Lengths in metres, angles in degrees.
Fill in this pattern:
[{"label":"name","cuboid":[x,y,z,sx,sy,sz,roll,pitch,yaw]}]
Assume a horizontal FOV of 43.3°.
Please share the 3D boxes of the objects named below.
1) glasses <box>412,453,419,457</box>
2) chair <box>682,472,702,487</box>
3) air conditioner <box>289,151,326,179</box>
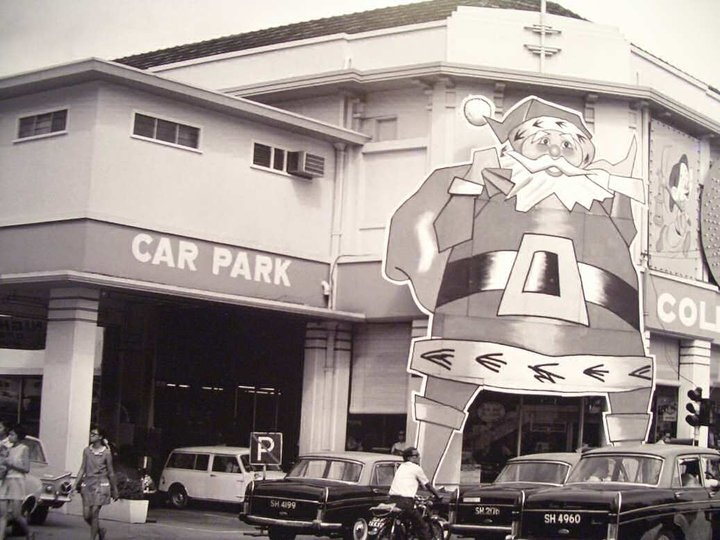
[{"label":"glasses","cuboid":[1.070,3.645,17.947,0.080,0.077,0.022,-3,10,-10]},{"label":"chair","cuboid":[6.270,3.984,17.294,0.346,0.312,0.280,-2,-8,13]},{"label":"air conditioner","cuboid":[-1.661,-3.215,27.905,0.441,0.781,1.223,-9,-15,43]}]
